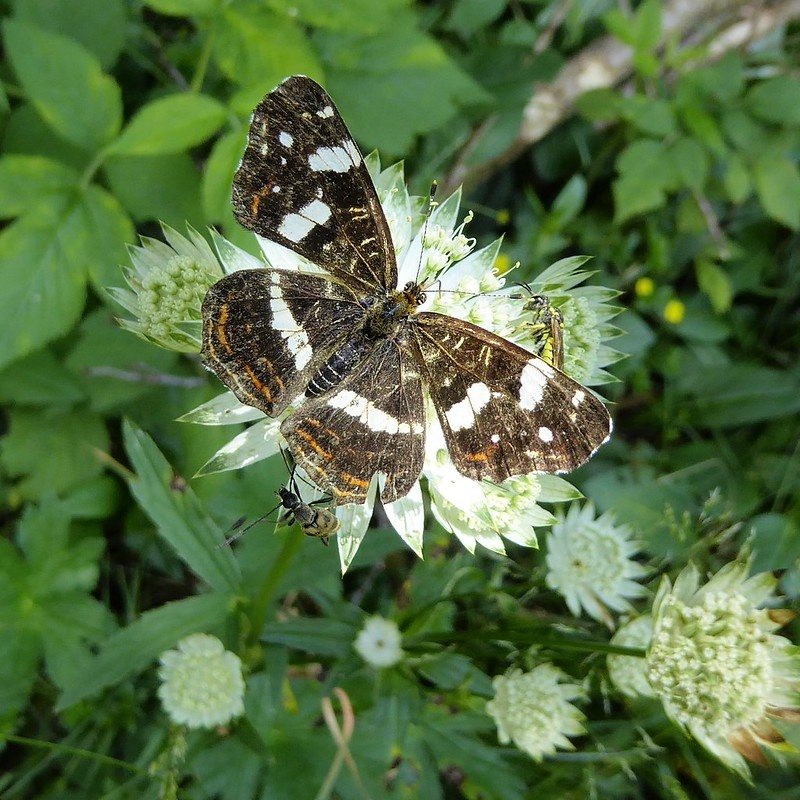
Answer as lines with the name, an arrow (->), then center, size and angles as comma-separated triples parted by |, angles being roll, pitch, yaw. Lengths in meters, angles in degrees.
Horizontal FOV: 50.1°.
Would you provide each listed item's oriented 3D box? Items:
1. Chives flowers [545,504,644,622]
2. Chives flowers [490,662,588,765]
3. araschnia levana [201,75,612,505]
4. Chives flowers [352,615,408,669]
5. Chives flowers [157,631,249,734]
Chives flowers -> 0.236, 0.193, 1.007 | 0.151, 0.044, 0.116 | -3, 66, 4
Chives flowers -> 0.169, 0.373, 1.030 | 0.120, 0.023, 0.105 | -18, 79, -3
araschnia levana -> -0.059, -0.080, 0.983 | 0.302, 0.215, 0.529 | -38, 81, -6
Chives flowers -> -0.025, 0.309, 1.087 | 0.064, 0.027, 0.058 | 23, 80, 5
Chives flowers -> -0.229, 0.333, 1.029 | 0.143, 0.035, 0.109 | 8, 90, 23
